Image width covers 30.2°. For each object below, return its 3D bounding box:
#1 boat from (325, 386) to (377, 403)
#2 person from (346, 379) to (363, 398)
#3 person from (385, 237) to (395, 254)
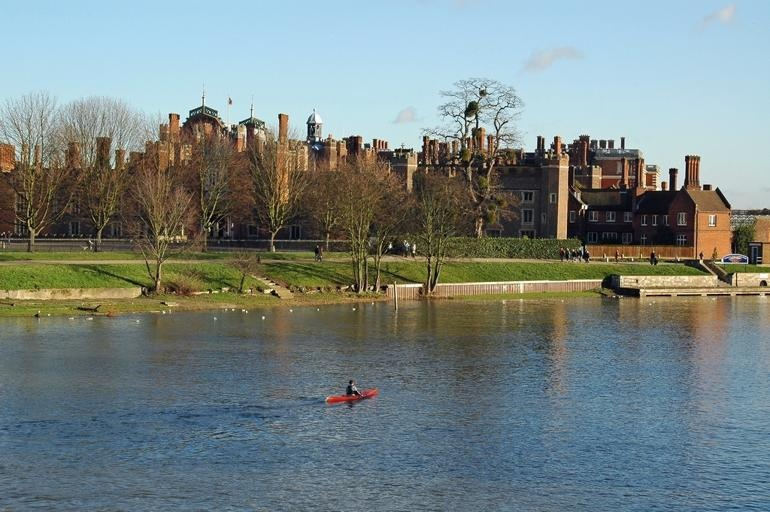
[{"bbox_3d":[-2.576,10.576,108.581,3.974,0.893,1.524,-2,10,-31],"label":"boat"},{"bbox_3d":[-2.666,10.059,108.956,1.335,1.442,1.108,8,20,30],"label":"person"},{"bbox_3d":[0.524,-1.287,171.268,0.727,2.165,0.897,-1,-5,9],"label":"person"}]
